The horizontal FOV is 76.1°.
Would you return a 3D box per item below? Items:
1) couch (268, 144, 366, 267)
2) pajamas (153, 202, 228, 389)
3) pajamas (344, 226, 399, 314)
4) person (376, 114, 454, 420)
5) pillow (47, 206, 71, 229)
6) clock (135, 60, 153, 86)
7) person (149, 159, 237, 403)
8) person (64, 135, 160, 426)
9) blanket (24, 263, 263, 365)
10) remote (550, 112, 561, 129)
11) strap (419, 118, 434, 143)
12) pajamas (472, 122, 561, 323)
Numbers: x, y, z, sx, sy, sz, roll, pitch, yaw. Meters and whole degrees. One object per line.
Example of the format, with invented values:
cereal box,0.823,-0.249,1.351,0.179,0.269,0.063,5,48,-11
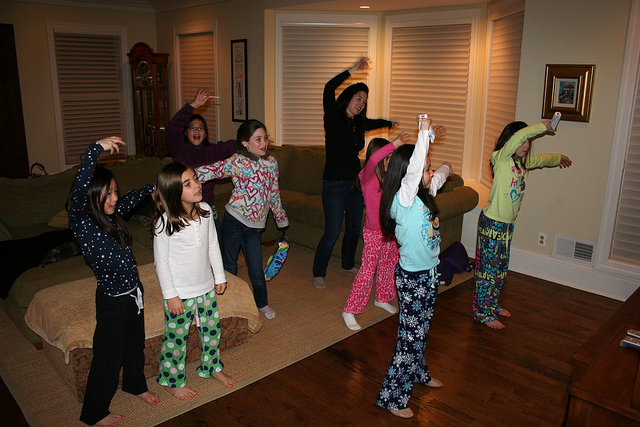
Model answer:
couch,-0.021,-0.043,4.603,0.569,0.584,1.311,-11,24,-43
pajamas,-0.958,0.645,2.973,0.559,1.355,0.229,-9,21,-23
pajamas,0.481,0.498,3.916,0.423,0.834,0.521,3,16,-12
person,0.622,0.381,2.871,0.434,2.051,0.623,2,19,8
pillow,-2.624,0.041,4.107,0.166,0.054,0.177,-29,35,1
clock,-3.131,-2.481,7.276,0.332,0.408,0.078,6,20,18
person,-0.960,0.500,2.940,0.550,1.679,0.423,-8,21,-22
person,-1.431,0.445,2.803,0.476,1.888,0.667,-3,19,-6
blanket,-1.498,0.742,3.649,1.574,0.675,1.604,-13,22,-39
remote,2.000,-0.804,3.506,0.083,0.178,0.042,26,-19,-2
strap,0.709,-0.552,2.724,0.104,0.162,0.086,3,20,11
pajamas,1.808,0.061,3.719,0.548,1.777,0.576,-4,14,-27
